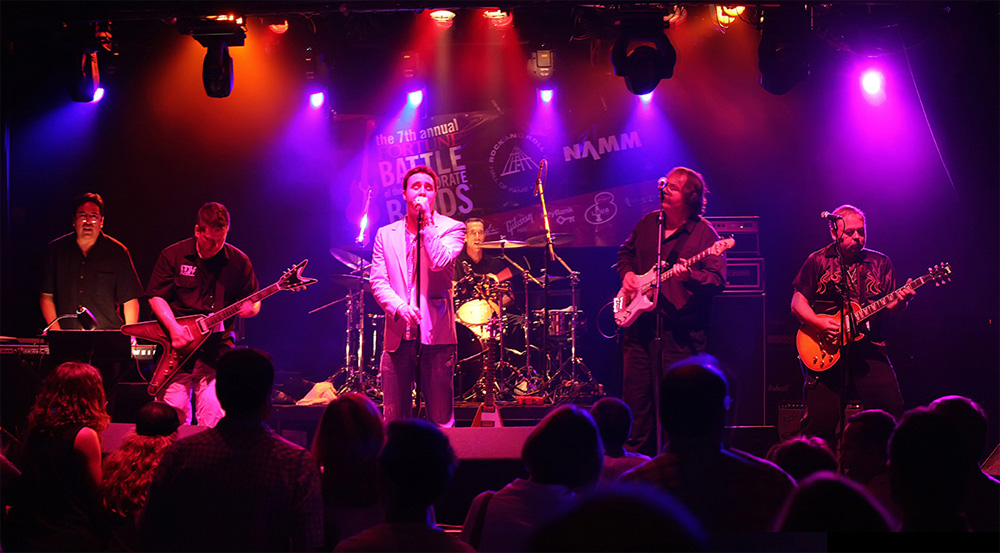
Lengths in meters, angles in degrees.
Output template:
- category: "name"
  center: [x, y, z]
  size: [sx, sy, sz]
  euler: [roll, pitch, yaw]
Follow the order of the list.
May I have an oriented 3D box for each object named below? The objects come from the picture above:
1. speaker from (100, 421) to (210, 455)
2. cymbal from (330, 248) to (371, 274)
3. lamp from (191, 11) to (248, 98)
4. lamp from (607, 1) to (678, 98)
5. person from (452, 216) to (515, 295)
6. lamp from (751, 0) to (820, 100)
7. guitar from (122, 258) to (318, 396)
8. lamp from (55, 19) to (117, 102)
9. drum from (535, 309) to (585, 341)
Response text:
- category: "speaker"
  center: [-3.340, 1.558, 7.870]
  size: [0.679, 0.358, 0.332]
  euler: [0, -12, -1]
- category: "cymbal"
  center: [-2.171, -0.231, 11.965]
  size: [0.564, 0.339, 0.720]
  euler: [5, -5, -3]
- category: "lamp"
  center: [-3.544, -2.756, 10.174]
  size: [0.611, 0.895, 0.675]
  euler: [7, -6, -20]
- category: "lamp"
  center: [1.779, -2.780, 10.176]
  size: [0.760, 0.975, 0.453]
  euler: [4, -6, 7]
- category: "person"
  center: [-0.299, -0.255, 12.704]
  size: [1.287, 1.391, 0.959]
  euler: [-3, -25, -5]
- category: "lamp"
  center: [3.643, -2.903, 10.424]
  size: [0.662, 1.050, 0.531]
  euler: [4, -6, 14]
- category: "guitar"
  center: [-3.667, 0.675, 10.130]
  size: [3.257, 1.020, 0.192]
  euler: [-22, -4, -14]
- category: "lamp"
  center: [-5.388, -2.661, 10.504]
  size: [0.641, 0.777, 0.541]
  euler: [-1, 24, -18]
- category: "drum"
  center: [0.864, 0.691, 11.856]
  size: [0.688, 0.344, 0.436]
  euler: [0, -2, -2]
